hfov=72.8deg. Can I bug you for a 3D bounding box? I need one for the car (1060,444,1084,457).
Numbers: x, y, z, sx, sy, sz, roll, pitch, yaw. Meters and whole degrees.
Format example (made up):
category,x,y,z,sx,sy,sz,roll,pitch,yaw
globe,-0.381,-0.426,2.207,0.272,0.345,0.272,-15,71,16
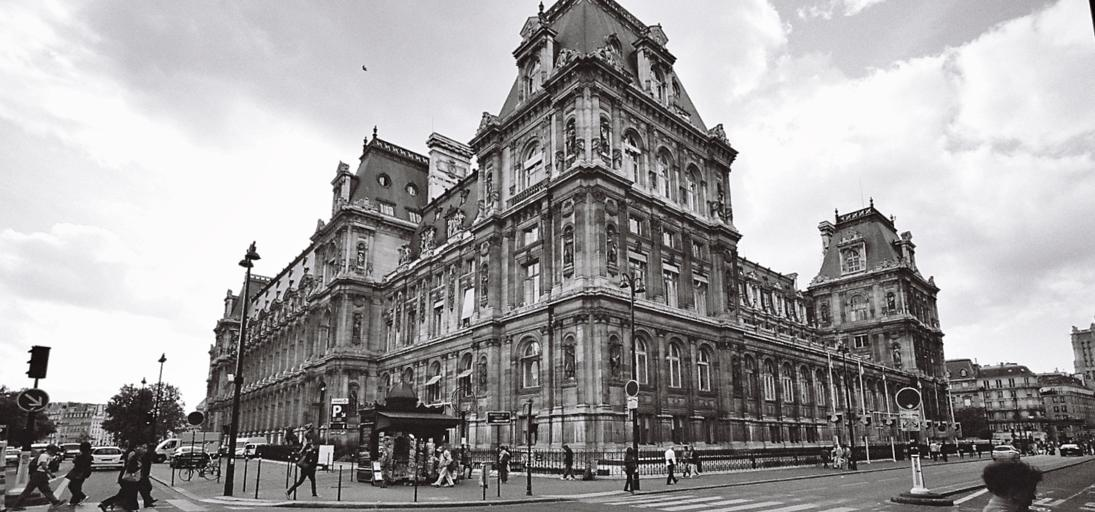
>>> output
category,x,y,z,sx,sy,sz,roll,pitch,yaw
car,86.645,31.780,122.533,2.518,2.586,5.213,-20,-33,36
